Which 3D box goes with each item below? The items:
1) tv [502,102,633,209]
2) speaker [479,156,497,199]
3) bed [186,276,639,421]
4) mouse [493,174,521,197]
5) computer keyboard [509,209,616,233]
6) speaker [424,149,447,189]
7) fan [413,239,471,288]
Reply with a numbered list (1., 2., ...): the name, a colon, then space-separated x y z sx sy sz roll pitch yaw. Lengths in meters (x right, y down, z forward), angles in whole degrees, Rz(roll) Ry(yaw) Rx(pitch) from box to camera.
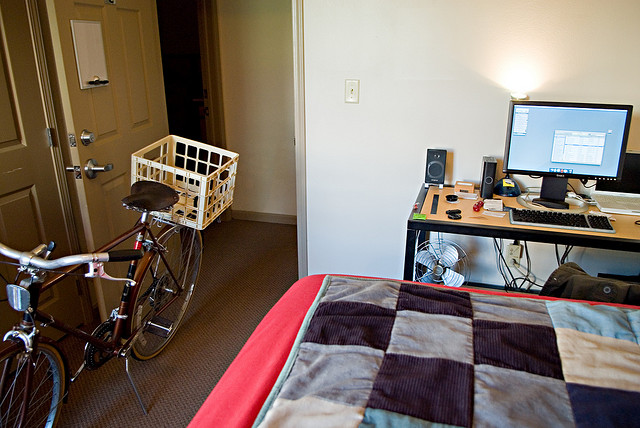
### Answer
1. tv: 1.649 -0.403 2.802 0.652 0.646 0.222 4 25 14
2. speaker: 1.162 -0.253 2.942 0.098 0.319 0.299 2 1 8
3. bed: 0.442 0.590 1.772 1.743 0.337 0.723 5 21 1
4. mouse: 1.308 -0.193 3.006 0.148 0.112 0.151 0 31 4
5. computer keyboard: 1.483 0.035 2.648 0.598 0.068 0.199 8 22 7
6. speaker: 0.871 -0.332 3.146 0.174 0.288 0.180 0 6 -41
7. fan: 0.824 0.327 2.941 0.344 0.385 0.172 6 10 24
